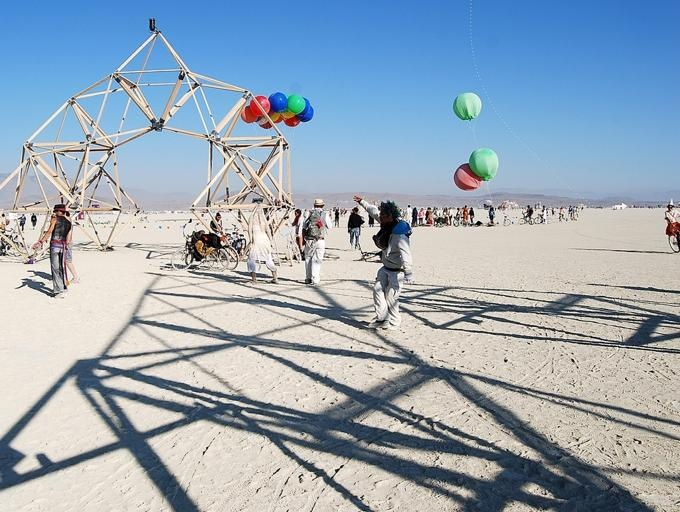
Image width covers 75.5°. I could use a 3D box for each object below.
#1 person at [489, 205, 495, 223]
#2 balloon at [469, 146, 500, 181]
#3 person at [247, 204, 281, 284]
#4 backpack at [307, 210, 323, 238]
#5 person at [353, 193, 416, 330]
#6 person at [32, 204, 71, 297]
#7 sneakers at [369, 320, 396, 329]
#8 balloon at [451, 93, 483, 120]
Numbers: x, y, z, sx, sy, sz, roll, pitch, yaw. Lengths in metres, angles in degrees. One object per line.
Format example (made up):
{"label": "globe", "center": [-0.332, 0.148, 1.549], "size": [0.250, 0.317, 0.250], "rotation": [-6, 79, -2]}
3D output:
{"label": "person", "center": [12.859, -3.457, 37.294], "size": [0.353, 1.581, 2.748], "rotation": [3, 13, 18]}
{"label": "balloon", "center": [2.619, -1.691, 8.180], "size": [0.295, 0.548, 0.495], "rotation": [-8, 14, -30]}
{"label": "person", "center": [-2.054, -0.246, 11.237], "size": [0.657, 1.969, 1.042], "rotation": [-5, 13, -20]}
{"label": "backpack", "center": [-0.655, -0.794, 11.139], "size": [0.433, 0.647, 0.237], "rotation": [7, -9, -30]}
{"label": "person", "center": [0.777, 0.152, 7.272], "size": [0.833, 2.108, 0.488], "rotation": [5, 13, 25]}
{"label": "person", "center": [-6.369, -0.102, 9.830], "size": [0.674, 1.899, 1.191], "rotation": [-9, 15, -34]}
{"label": "sneakers", "center": [0.710, 1.141, 7.399], "size": [0.459, 0.209, 0.162], "rotation": [-2, -2, 8]}
{"label": "balloon", "center": [2.706, -3.191, 9.374], "size": [0.493, 0.495, 0.329], "rotation": [2, 12, 10]}
